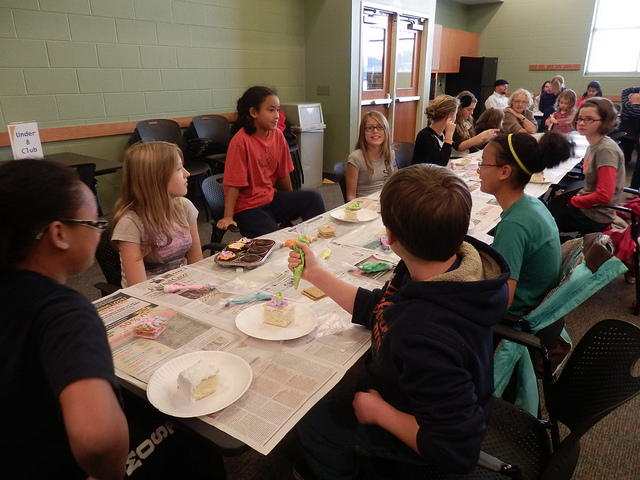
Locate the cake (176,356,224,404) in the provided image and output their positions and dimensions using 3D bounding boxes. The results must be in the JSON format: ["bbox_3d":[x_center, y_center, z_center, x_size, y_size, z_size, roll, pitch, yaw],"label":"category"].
[{"bbox_3d":[-0.380,0.438,1.256,0.119,0.076,0.138,3,11,16],"label":"cake"}]

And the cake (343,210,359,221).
[{"bbox_3d":[0.194,-0.153,2.551,0.068,0.054,0.070,14,21,29],"label":"cake"}]

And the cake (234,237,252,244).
[{"bbox_3d":[-0.423,0.005,2.158,0.058,0.020,0.056,2,9,26],"label":"cake"}]

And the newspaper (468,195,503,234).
[{"bbox_3d":[1.000,-0.144,2.426,0.140,0.013,0.316,8,34,40],"label":"newspaper"}]

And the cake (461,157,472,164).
[{"bbox_3d":[1.517,-0.818,4.171,0.105,0.027,0.110,24,26,39],"label":"cake"}]

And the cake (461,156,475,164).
[{"bbox_3d":[1.568,-0.842,4.254,0.131,0.039,0.152,17,24,37],"label":"cake"}]

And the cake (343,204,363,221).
[{"bbox_3d":[0.214,-0.188,2.595,0.096,0.096,0.101,14,22,36],"label":"cake"}]

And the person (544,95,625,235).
[{"bbox_3d":[2.271,-0.514,3.550,0.669,1.347,0.629,-1,20,19],"label":"person"}]

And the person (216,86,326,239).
[{"bbox_3d":[-0.335,-0.492,3.291,0.938,1.369,0.832,-3,24,-16],"label":"person"}]

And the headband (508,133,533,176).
[{"bbox_3d":[0.962,-0.412,1.970,0.096,0.175,0.145,-19,29,-34],"label":"headband"}]

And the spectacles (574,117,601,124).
[{"bbox_3d":[2.220,-0.989,3.347,0.054,0.048,0.187,-13,26,-24],"label":"spectacles"}]

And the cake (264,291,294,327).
[{"bbox_3d":[-0.159,0.260,1.549,0.121,0.126,0.118,-6,11,-43],"label":"cake"}]

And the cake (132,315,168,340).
[{"bbox_3d":[-0.621,0.315,1.500,0.071,0.027,0.084,9,24,18],"label":"cake"}]

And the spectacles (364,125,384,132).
[{"bbox_3d":[0.454,-0.933,3.385,0.149,0.054,0.031,-2,24,-2],"label":"spectacles"}]

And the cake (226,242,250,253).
[{"bbox_3d":[-0.422,0.042,2.068,0.114,0.022,0.096,-4,24,-6],"label":"cake"}]
